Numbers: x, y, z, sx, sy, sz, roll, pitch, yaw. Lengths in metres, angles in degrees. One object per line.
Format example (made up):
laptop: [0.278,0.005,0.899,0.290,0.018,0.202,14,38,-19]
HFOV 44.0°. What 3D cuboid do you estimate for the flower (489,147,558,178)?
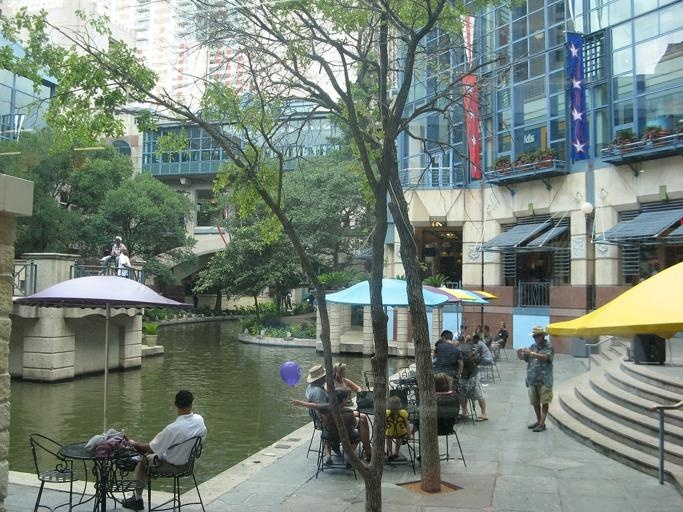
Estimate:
flower: [8.000,-4.033,36.668,0.461,0.872,3.058,0,-4,-42]

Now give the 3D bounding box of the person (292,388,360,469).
person: [-0.042,3.731,18.094,1.002,1.576,1.158,0,9,12]

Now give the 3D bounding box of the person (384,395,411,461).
person: [1.235,3.642,18.144,0.564,1.387,0.897,-2,-2,4]

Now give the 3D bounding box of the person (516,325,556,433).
person: [4.734,2.915,20.347,0.729,2.487,1.259,-2,-2,12]

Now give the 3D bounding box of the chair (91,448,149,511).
chair: [-4.178,4.088,16.106,1.178,1.320,1.206,2,2,-21]

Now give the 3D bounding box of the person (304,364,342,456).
person: [-0.274,3.470,18.393,0.786,2.227,0.837,-12,12,-6]

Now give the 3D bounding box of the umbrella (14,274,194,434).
umbrella: [-5.615,2.318,20.178,3.103,3.738,4.590,0,-4,-39]

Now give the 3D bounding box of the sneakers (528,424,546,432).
sneakers: [4.716,4.071,20.174,0.264,0.101,0.193,4,-7,-33]

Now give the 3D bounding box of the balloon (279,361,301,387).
balloon: [-1.092,2.482,17.972,0.337,0.493,0.436,-2,-3,5]
